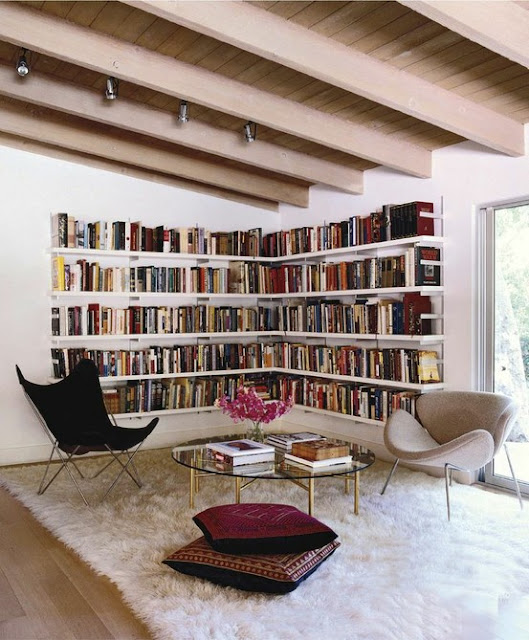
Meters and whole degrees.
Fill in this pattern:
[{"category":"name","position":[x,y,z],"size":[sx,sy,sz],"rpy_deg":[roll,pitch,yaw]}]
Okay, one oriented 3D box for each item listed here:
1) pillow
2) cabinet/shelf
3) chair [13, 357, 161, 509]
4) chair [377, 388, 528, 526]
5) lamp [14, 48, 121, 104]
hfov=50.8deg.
[{"category":"pillow","position":[0.022,0.989,2.547],"size":[0.445,0.182,0.416],"rpy_deg":[2,0,30]},{"category":"cabinet/shelf","position":[-0.044,-0.026,4.889],"size":[2.434,1.353,2.308],"rpy_deg":[-1,0,-30]},{"category":"chair","position":[-1.141,0.699,3.610],"size":[0.775,0.746,0.638],"rpy_deg":[5,4,34]},{"category":"chair","position":[1.233,0.820,3.633],"size":[0.858,0.727,0.873],"rpy_deg":[5,-6,-30]},{"category":"lamp","position":[-1.276,-1.577,3.680],"size":[0.667,0.243,0.526],"rpy_deg":[-4,3,-21]}]
